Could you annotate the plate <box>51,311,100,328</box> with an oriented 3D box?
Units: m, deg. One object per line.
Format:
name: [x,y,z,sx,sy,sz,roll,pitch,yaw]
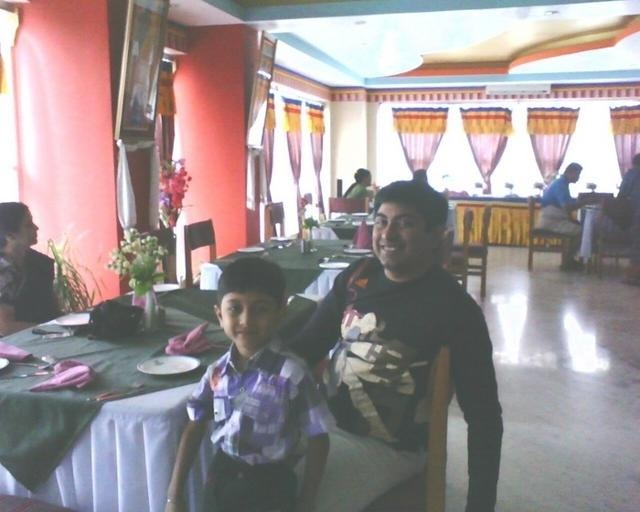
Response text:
plate: [-1.120,0.289,2.528,0.126,0.020,0.135,2,13,3]

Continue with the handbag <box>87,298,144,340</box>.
handbag: [-0.858,0.270,2.334,0.202,0.199,0.128,4,-4,-32]

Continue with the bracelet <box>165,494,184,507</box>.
bracelet: [-0.450,0.755,1.732,0.043,0.021,0.059,3,-7,-12]
